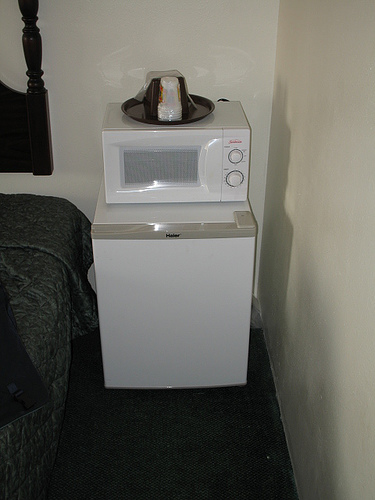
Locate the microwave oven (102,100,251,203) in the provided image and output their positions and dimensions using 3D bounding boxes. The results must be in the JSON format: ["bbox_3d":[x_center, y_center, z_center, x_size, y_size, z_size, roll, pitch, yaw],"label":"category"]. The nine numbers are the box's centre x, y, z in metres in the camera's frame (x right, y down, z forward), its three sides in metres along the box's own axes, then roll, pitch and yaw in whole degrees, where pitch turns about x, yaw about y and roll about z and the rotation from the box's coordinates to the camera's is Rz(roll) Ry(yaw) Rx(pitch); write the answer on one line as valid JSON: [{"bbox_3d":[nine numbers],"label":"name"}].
[{"bbox_3d":[-0.052,-0.393,1.412,0.491,0.291,0.391,0,48,-6],"label":"microwave oven"}]

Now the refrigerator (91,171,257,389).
[{"bbox_3d":[-0.053,0.060,1.585,0.608,0.918,0.686,-2,49,-1],"label":"refrigerator"}]

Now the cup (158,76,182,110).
[{"bbox_3d":[-0.061,-0.503,1.310,0.088,0.115,0.113,-3,32,-4],"label":"cup"}]
